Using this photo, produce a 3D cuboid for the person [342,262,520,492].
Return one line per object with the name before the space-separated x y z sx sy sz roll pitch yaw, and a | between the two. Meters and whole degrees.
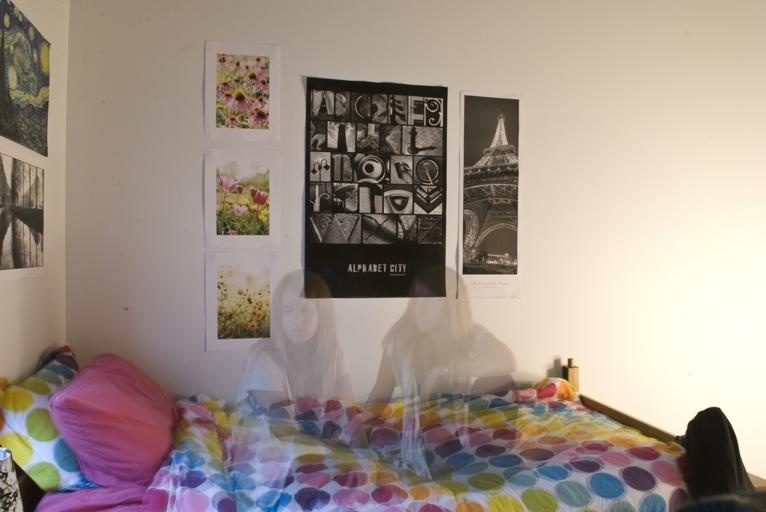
person | 0.216 0.599 2.977 0.820 1.032 0.512 -1 5 -15
